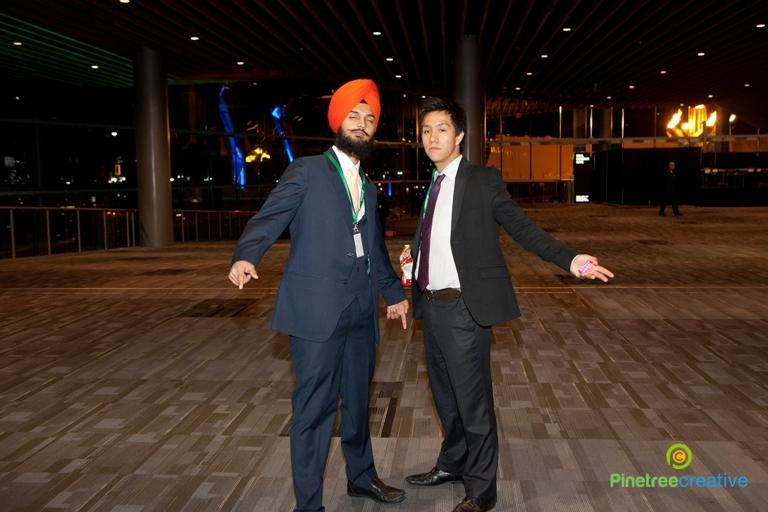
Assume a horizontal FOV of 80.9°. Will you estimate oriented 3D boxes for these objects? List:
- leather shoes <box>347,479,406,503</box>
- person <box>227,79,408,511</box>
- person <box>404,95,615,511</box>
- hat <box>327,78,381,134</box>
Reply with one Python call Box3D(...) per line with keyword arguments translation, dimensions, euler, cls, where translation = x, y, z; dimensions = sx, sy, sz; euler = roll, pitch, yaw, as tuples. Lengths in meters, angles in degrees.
Box3D(translation=(-0.020, 1.155, 2.245), dimensions=(0.298, 0.118, 0.110), euler=(-2, -3, 14), cls="leather shoes")
Box3D(translation=(-0.291, 0.213, 2.053), dimensions=(0.720, 2.027, 0.400), euler=(-5, 9, -16), cls="person")
Box3D(translation=(0.424, 0.231, 2.140), dimensions=(0.547, 1.976, 0.733), euler=(-7, 10, -27), cls="person")
Box3D(translation=(-0.124, -0.725, 2.239), dimensions=(0.220, 0.282, 0.289), euler=(8, 12, -24), cls="hat")
